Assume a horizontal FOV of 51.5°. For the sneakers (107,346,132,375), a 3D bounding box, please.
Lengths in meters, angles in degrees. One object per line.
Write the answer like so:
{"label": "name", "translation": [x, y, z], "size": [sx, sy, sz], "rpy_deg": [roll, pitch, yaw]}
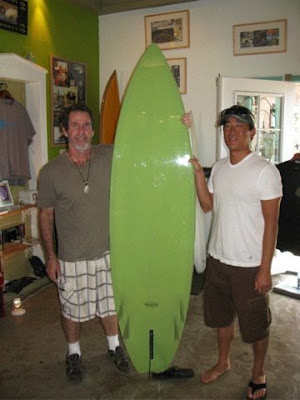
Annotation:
{"label": "sneakers", "translation": [-0.168, 0.871, 1.721], "size": [0.060, 0.093, 0.165], "rpy_deg": [4, 5, -31]}

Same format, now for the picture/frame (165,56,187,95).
{"label": "picture/frame", "translation": [0.267, -1.334, 3.299], "size": [0.202, 0.038, 0.452], "rpy_deg": [5, -28, 9]}

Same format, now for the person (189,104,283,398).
{"label": "person", "translation": [0.397, 0.260, 1.483], "size": [0.407, 1.390, 0.295], "rpy_deg": [3, 6, 28]}

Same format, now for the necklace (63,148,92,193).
{"label": "necklace", "translation": [-0.340, -0.132, 1.493], "size": [0.106, 0.188, 0.090], "rpy_deg": [-2, 6, -13]}

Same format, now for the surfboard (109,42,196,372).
{"label": "surfboard", "translation": [0.011, 0.084, 1.509], "size": [0.409, 1.631, 0.076], "rpy_deg": [0, 5, -2]}

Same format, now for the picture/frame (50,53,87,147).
{"label": "picture/frame", "translation": [-0.805, -0.983, 3.112], "size": [0.363, 0.893, 0.027], "rpy_deg": [-1, -5, -18]}

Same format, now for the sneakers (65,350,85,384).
{"label": "sneakers", "translation": [-0.400, 0.893, 1.635], "size": [0.059, 0.086, 0.173], "rpy_deg": [5, 26, -23]}
